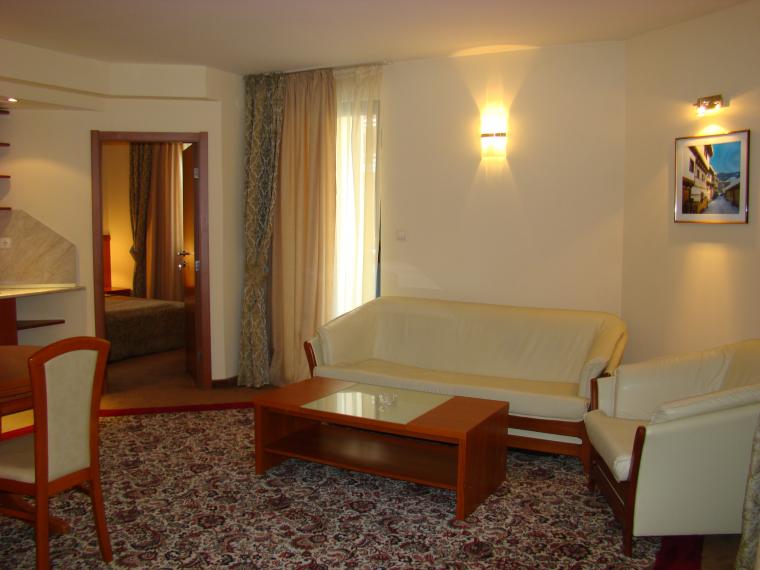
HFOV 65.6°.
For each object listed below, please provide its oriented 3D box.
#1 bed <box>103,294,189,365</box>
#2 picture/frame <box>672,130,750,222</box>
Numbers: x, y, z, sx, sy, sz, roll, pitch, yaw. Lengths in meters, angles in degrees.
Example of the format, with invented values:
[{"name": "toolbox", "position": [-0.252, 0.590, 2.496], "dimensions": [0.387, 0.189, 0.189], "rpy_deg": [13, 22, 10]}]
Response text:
[{"name": "bed", "position": [-2.910, 0.585, 7.281], "dimensions": [0.236, 0.637, 1.120], "rpy_deg": [5, 10, 30]}, {"name": "picture/frame", "position": [2.455, -0.797, 4.318], "dimensions": [0.034, 0.814, 0.674], "rpy_deg": [-5, 7, -32]}]
